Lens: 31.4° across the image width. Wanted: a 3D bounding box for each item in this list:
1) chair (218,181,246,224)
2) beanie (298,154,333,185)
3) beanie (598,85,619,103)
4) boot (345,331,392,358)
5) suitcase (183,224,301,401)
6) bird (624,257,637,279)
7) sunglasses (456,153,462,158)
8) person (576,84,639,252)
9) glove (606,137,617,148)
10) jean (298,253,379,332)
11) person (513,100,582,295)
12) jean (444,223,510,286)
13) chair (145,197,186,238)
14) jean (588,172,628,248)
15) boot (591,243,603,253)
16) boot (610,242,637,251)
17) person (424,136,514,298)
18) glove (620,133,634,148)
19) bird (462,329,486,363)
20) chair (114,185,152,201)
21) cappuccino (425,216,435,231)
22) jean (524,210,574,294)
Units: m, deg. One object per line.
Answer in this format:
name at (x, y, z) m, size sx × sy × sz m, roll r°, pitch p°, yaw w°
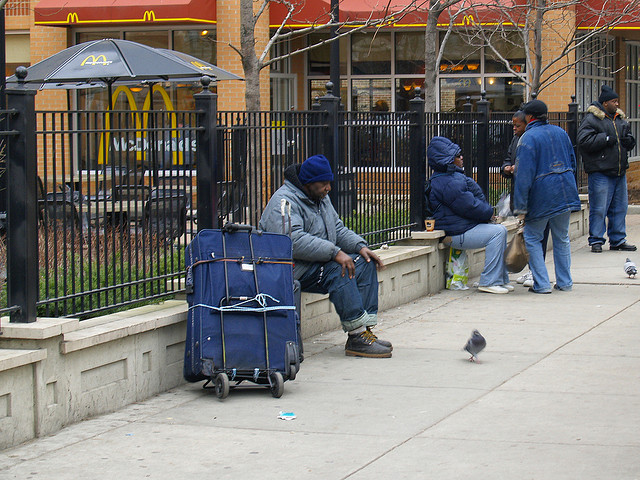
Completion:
chair at (-0.852, -0.340, 10.515) m, size 0.192 × 0.419 × 0.486 m, roll 1°, pitch 11°, yaw 10°
beanie at (-0.050, -0.666, 10.467) m, size 0.344 × 0.259 × 0.269 m, roll 11°, pitch 23°, yaw 31°
beanie at (4.024, -2.057, 16.067) m, size 0.291 × 0.238 × 0.217 m, roll -8°, pitch 10°, yaw 26°
boot at (0.416, 0.991, 10.664) m, size 0.476 × 0.279 × 0.185 m, roll -1°, pitch 1°, yaw 6°
suitcase at (-0.692, 0.574, 9.657) m, size 0.990 × 1.383 × 0.831 m, roll 1°, pitch -3°, yaw -36°
bird at (3.821, 0.377, 14.184) m, size 0.136 × 0.217 × 0.482 m, roll 2°, pitch 11°, yaw 15°
sunglasses at (1.613, -1.010, 13.611) m, size 0.076 × 0.037 × 0.055 m, roll -15°, pitch -9°, yaw 36°
person at (4.103, -0.991, 16.357) m, size 0.866 × 2.423 × 0.551 m, roll -2°, pitch 11°, yaw -4°
glove at (4.084, -1.376, 16.039) m, size 0.110 × 0.136 × 0.058 m, roll -2°, pitch 7°, yaw -23°
jean at (0.121, 0.490, 10.693) m, size 0.805 × 0.857 × 0.736 m, roll -8°, pitch -2°, yaw 5°
person at (2.610, -0.471, 13.301) m, size 0.763 × 2.224 × 0.495 m, roll 0°, pitch 11°, yaw 5°
jean at (1.926, 0.179, 13.634) m, size 0.738 × 0.843 × 0.731 m, roll 3°, pitch -6°, yaw -15°
chair at (-1.365, -0.185, 9.943) m, size 0.256 × 0.144 × 0.395 m, roll 1°, pitch -15°, yaw -9°
jean at (4.140, -0.428, 16.522) m, size 0.627 × 1.140 × 0.393 m, roll -3°, pitch 11°, yaw -9°
boot at (3.972, 0.116, 16.538) m, size 0.120 × 0.110 × 0.270 m, roll -1°, pitch -6°, yaw 7°
boot at (4.374, 0.104, 16.595) m, size 0.368 × 0.141 × 0.125 m, roll -1°, pitch 0°, yaw 21°
person at (1.689, -0.284, 13.478) m, size 1.115 × 1.842 × 0.520 m, roll 3°, pitch 12°, yaw 21°
glove at (4.330, -1.414, 16.184) m, size 0.181 × 0.208 × 0.185 m, roll 5°, pitch 12°, yaw 28°
bird at (1.373, 0.952, 10.282) m, size 0.190 × 0.326 × 0.468 m, roll -3°, pitch 5°, yaw -4°
chair at (-1.588, -0.396, 9.596) m, size 0.234 × 0.169 × 0.482 m, roll 0°, pitch 10°, yaw 5°
cappuccino at (1.282, -0.187, 13.656) m, size 0.147 × 0.177 × 0.144 m, roll 0°, pitch -4°, yaw -4°
jean at (2.590, -0.083, 13.201) m, size 0.525 × 1.801 × 0.473 m, roll 0°, pitch 45°, yaw 14°
